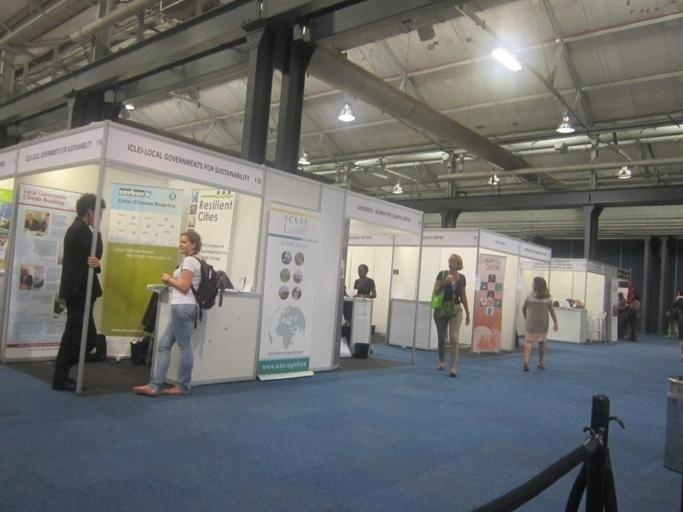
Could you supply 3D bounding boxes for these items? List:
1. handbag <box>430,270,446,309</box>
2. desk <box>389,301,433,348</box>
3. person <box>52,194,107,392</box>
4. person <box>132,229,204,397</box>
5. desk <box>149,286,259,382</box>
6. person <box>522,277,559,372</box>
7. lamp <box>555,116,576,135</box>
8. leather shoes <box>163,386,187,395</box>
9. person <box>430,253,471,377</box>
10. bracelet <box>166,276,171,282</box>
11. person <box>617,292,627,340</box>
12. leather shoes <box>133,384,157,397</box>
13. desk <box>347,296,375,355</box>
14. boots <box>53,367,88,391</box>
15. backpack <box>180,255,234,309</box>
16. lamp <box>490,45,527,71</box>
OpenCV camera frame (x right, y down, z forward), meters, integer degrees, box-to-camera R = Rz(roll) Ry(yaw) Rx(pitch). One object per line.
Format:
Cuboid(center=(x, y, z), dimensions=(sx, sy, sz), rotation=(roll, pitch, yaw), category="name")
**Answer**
Cuboid(center=(1.525, 0.513, 7.191), dimensions=(0.192, 0.600, 0.323), rotation=(1, -6, 16), category="handbag")
Cuboid(center=(1.463, 1.522, 10.484), dimensions=(0.775, 1.138, 1.113), rotation=(6, -3, 11), category="desk")
Cuboid(center=(-2.731, 0.331, 4.852), dimensions=(0.410, 2.108, 0.636), rotation=(6, -7, -29), category="person")
Cuboid(center=(-1.766, 0.586, 4.945), dimensions=(0.549, 1.760, 0.525), rotation=(-2, -8, 38), category="person")
Cuboid(center=(-1.553, 0.898, 5.275), dimensions=(0.573, 1.138, 1.082), rotation=(-1, -5, 37), category="desk")
Cuboid(center=(3.654, 1.243, 8.554), dimensions=(0.555, 1.709, 1.128), rotation=(0, -7, 25), category="person")
Cuboid(center=(5.021, -2.975, 10.350), dimensions=(0.258, 0.398, 0.327), rotation=(2, -6, 14), category="lamp")
Cuboid(center=(-1.785, 1.442, 4.947), dimensions=(0.186, 0.081, 0.114), rotation=(14, -13, -16), category="leather shoes")
Cuboid(center=(1.748, 0.910, 7.434), dimensions=(0.546, 1.926, 1.011), rotation=(1, -6, 16), category="person")
Cuboid(center=(-1.766, 0.235, 4.737), dimensions=(0.015, 0.043, 0.031), rotation=(8, 28, 42), category="bracelet")
Cuboid(center=(10.374, 2.231, 17.094), dimensions=(0.294, 1.716, 0.956), rotation=(-1, -7, 33), category="person")
Cuboid(center=(-2.025, 1.398, 4.788), dimensions=(0.195, 0.091, 0.074), rotation=(13, 13, 9), category="leather shoes")
Cuboid(center=(0.342, 1.280, 8.338), dimensions=(0.522, 1.061, 0.389), rotation=(5, -6, -16), category="desk")
Cuboid(center=(-2.859, 1.267, 4.789), dimensions=(0.217, 0.224, 0.213), rotation=(7, -7, -32), category="boots")
Cuboid(center=(-1.463, 0.335, 5.163), dimensions=(0.461, 0.575, 0.405), rotation=(4, -5, -1), category="backpack")
Cuboid(center=(3.001, -3.644, 8.390), dimensions=(0.719, 0.289, 0.225), rotation=(9, -8, -42), category="lamp")
